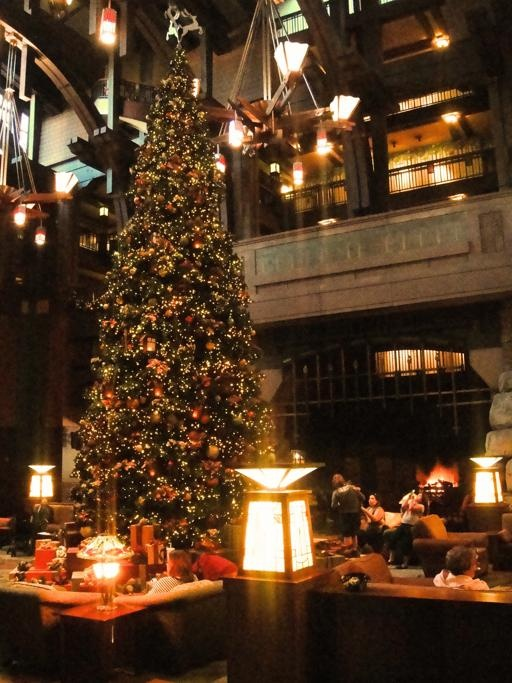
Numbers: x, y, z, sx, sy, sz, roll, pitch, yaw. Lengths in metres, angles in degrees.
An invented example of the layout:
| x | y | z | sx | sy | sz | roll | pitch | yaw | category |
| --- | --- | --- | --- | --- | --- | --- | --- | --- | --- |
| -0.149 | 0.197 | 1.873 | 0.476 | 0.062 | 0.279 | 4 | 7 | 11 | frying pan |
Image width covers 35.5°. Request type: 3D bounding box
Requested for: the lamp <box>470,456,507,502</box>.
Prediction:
| x | y | z | sx | sy | sz | roll | pitch | yaw | category |
| --- | --- | --- | --- | --- | --- | --- | --- | --- | --- |
| 3.155 | 1.900 | 10.946 | 0.406 | 0.626 | 0.807 | -4 | -9 | 16 | lamp |

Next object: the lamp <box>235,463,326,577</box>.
| x | y | z | sx | sy | sz | roll | pitch | yaw | category |
| --- | --- | --- | --- | --- | --- | --- | --- | --- | --- |
| 0.102 | 1.167 | 5.129 | 0.513 | 0.682 | 0.534 | -9 | -14 | 35 | lamp |
